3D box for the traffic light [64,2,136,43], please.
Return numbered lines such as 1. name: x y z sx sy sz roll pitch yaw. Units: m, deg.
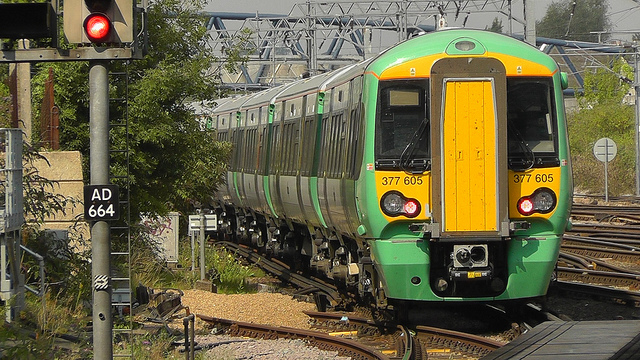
1. traffic light: -3.173 -2.298 11.008 0.835 0.859 0.533 0 -1 -23
